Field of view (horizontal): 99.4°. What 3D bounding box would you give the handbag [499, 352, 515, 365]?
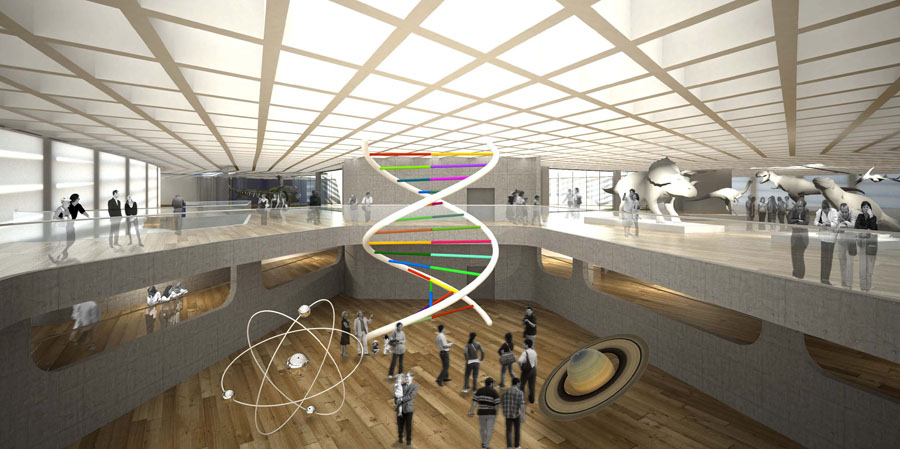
[{"bbox_3d":[2.066,4.880,13.836,0.563,0.289,0.494,-1,0,1],"label":"handbag"}]
